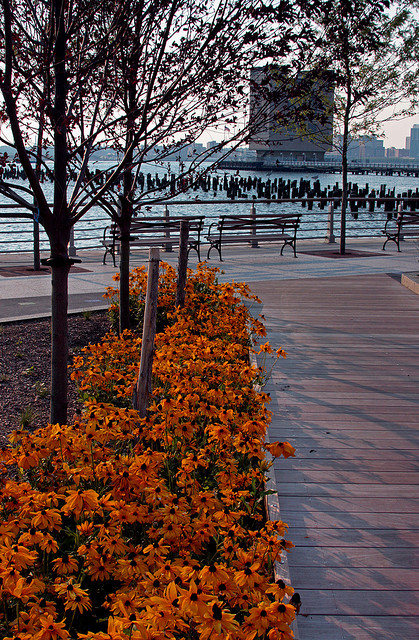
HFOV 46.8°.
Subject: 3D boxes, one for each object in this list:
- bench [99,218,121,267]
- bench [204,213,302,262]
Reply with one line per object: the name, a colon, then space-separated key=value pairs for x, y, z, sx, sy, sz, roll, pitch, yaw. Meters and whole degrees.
bench: x=-2.533 y=-1.912 z=12.117 sx=0.496 sy=0.840 sz=1.212 roll=-8 pitch=13 yaw=-11
bench: x=1.322 y=-2.458 z=14.112 sx=2.875 sy=1.302 sz=1.052 roll=-6 pitch=14 yaw=-26
